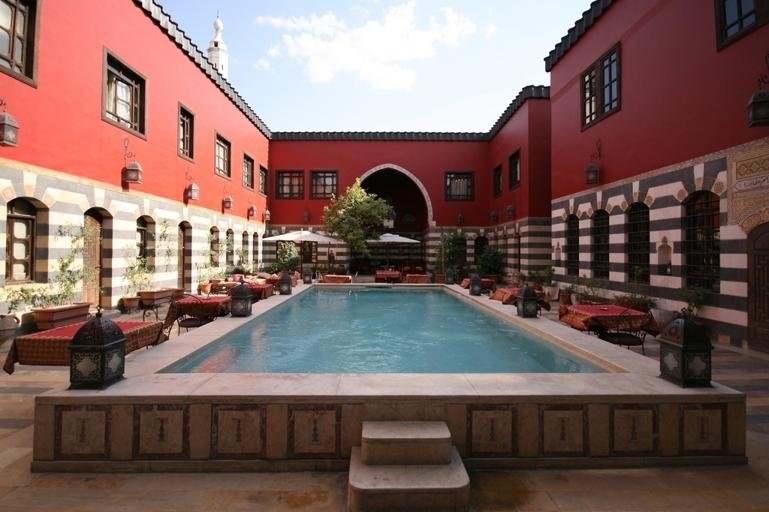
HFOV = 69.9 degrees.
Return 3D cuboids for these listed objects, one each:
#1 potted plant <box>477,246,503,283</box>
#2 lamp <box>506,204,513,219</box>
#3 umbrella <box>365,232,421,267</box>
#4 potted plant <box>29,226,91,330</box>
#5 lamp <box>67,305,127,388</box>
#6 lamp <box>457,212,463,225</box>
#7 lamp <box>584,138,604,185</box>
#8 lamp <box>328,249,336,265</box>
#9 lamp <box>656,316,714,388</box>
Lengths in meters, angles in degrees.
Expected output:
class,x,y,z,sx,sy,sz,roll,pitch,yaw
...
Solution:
class,x,y,z,sx,sy,sz,roll,pitch,yaw
potted plant,4.895,0.376,25.181,1.300,1.701,1.398,-1,3,10
lamp,5.534,-1.957,24.130,0.291,0.656,0.888,-2,-3,9
umbrella,0.841,-0.268,31.995,2.385,1.632,2.318,0,0,-19
potted plant,-8.261,0.561,13.878,0.864,2.549,2.516,3,0,-3
lamp,-5.194,1.695,9.962,0.898,1.365,0.351,0,-3,-29
lamp,3.865,-1.902,27.941,0.319,0.556,0.390,-2,-3,5
lamp,6.521,-2.964,17.266,0.384,1.427,0.579,-1,-3,-10
lamp,-2.675,0.032,28.299,0.414,0.789,0.327,-1,-3,-18
lamp,5.476,1.704,10.030,0.859,1.294,0.288,-3,-3,28
